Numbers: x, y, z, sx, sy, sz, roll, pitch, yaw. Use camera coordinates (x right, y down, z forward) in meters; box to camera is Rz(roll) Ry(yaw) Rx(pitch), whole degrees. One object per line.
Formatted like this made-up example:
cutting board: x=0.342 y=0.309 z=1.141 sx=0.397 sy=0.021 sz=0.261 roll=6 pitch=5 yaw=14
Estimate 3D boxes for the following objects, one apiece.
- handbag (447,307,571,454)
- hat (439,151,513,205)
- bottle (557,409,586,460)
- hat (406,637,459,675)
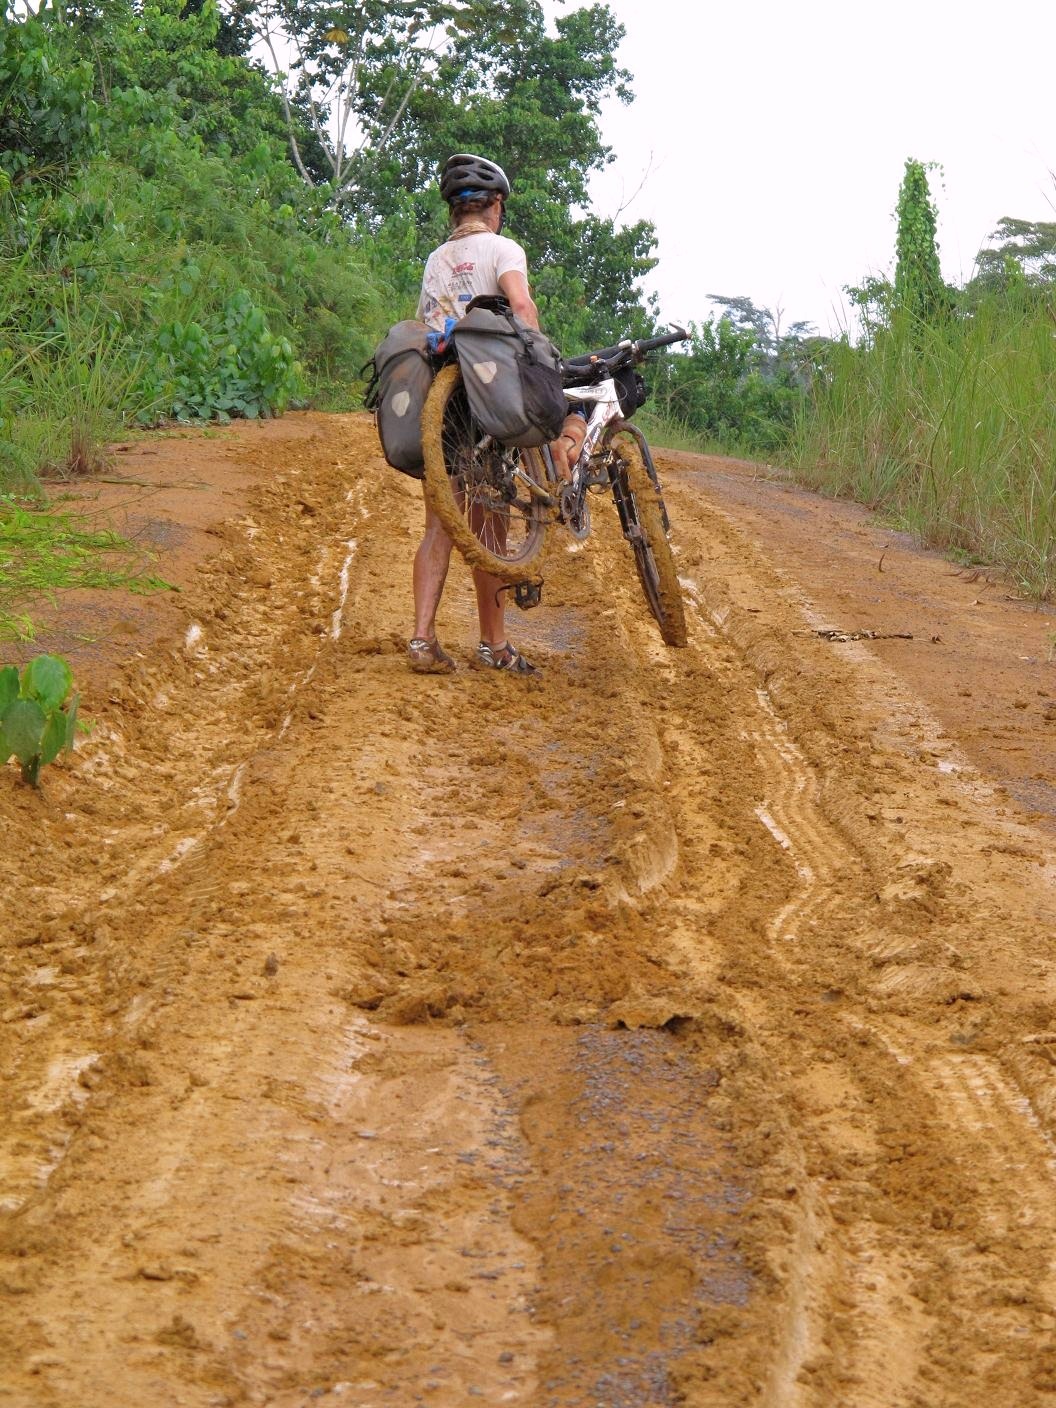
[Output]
handbag: x=-0.063 y=-1.289 z=5.571 sx=0.329 sy=0.531 sz=0.483 roll=-7 pitch=-5 yaw=31
hat: x=-0.209 y=-2.103 z=5.752 sx=0.260 sy=0.217 sz=0.268 roll=5 pitch=8 yaw=-8
bottle: x=0.194 y=-1.176 z=6.217 sx=0.203 sy=0.183 sz=0.067 roll=-2 pitch=1 yaw=-45
hat: x=-0.387 y=-0.196 z=5.856 sx=0.097 sy=0.110 sz=0.252 roll=3 pitch=6 yaw=21
